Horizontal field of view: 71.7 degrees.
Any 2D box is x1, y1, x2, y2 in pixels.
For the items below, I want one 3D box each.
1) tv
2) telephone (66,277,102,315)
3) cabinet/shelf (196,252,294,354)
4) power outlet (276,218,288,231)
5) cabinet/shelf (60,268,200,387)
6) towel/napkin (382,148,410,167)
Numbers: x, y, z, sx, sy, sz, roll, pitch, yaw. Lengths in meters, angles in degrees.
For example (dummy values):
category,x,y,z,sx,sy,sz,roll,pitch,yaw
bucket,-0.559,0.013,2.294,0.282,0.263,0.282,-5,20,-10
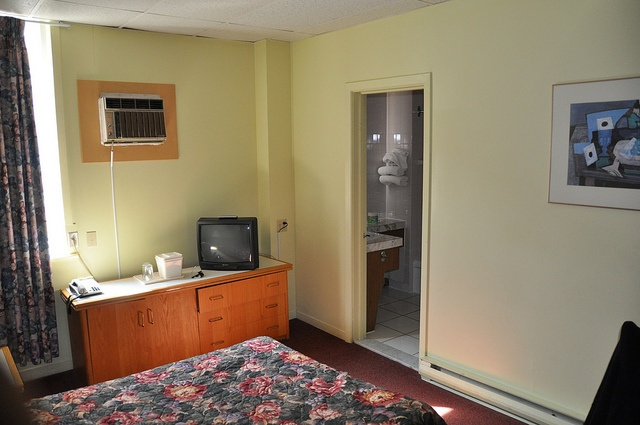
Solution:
category,x,y,z,sx,sy,sz,roll,pitch,yaw
tv,-0.987,0.358,5.212,0.882,0.764,0.545,0,-1,0
telephone,-2.391,0.771,4.425,0.309,0.138,0.429,-14,28,-29
cabinet/shelf,-1.005,0.947,5.364,1.432,1.142,0.837,-7,9,-33
power outlet,-0.496,0.160,5.742,0.186,0.178,0.123,-5,10,-38
cabinet/shelf,-1.946,1.096,4.843,1.431,1.275,0.897,-6,7,-38
towel/napkin,1.134,-0.800,6.516,0.309,0.126,0.302,3,2,15
